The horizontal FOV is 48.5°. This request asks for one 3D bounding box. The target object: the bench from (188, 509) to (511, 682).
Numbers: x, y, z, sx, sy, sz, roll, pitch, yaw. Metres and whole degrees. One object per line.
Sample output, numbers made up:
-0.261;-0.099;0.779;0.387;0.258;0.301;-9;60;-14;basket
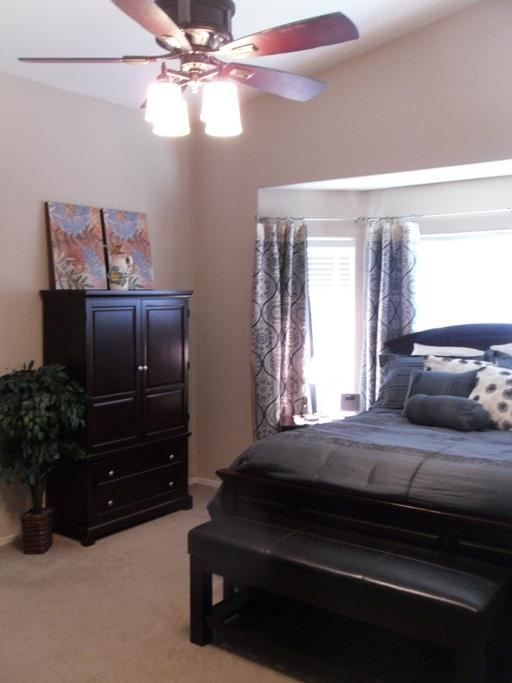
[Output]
0.268;0.982;2.041;1.114;0.502;0.283;1;2;36;bench
